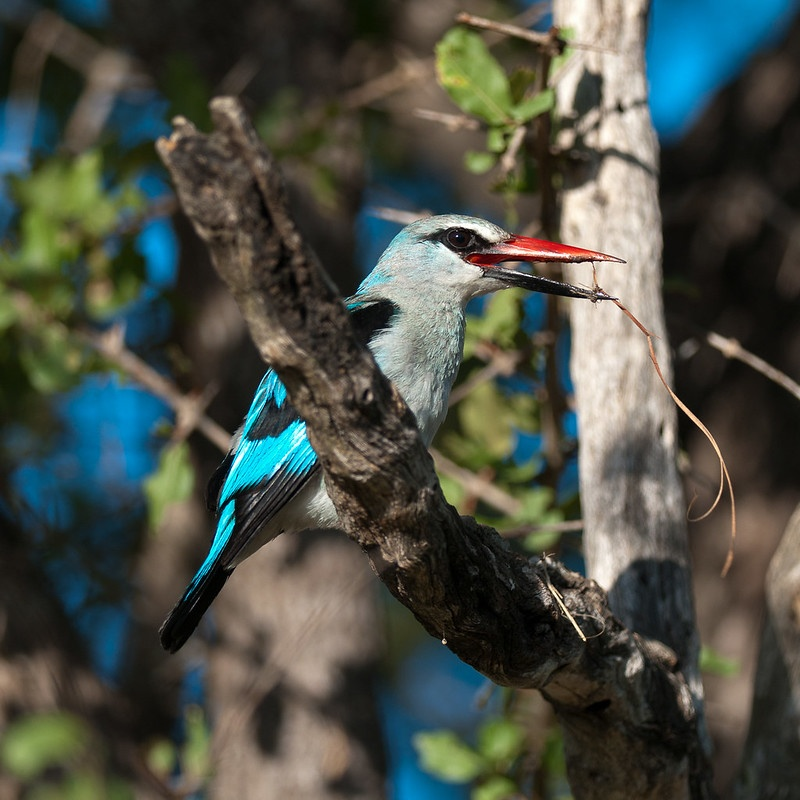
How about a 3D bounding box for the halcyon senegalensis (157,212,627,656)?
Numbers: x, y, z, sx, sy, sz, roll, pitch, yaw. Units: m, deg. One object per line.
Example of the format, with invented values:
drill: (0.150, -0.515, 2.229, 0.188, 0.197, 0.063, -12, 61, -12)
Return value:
halcyon senegalensis: (-0.037, 0.037, 4.415, 1.429, 1.189, 0.477, -2, -10, 17)
